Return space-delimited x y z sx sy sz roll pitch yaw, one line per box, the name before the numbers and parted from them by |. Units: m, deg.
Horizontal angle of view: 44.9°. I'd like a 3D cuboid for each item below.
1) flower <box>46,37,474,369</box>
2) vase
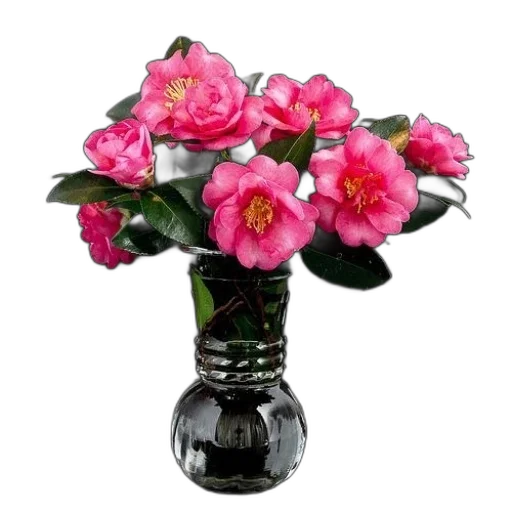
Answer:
flower | 0.017 -0.054 1.057 0.688 0.575 0.320 -1 28 6
vase | -0.030 0.219 1.193 0.239 0.474 0.237 2 14 -3
